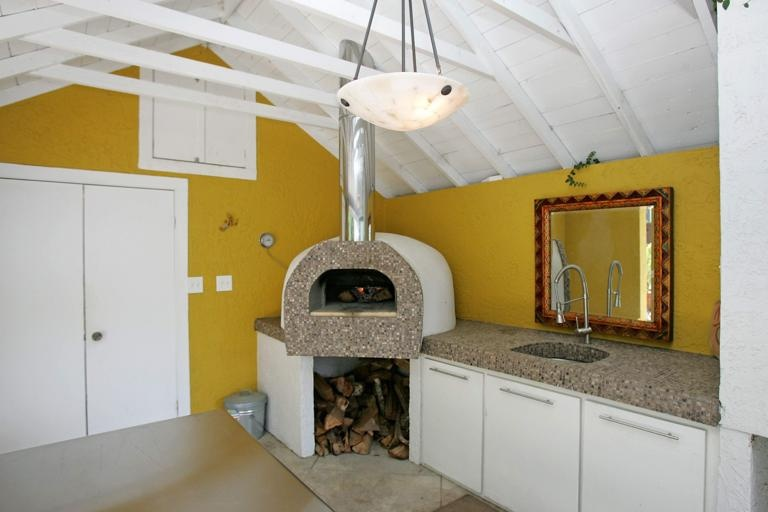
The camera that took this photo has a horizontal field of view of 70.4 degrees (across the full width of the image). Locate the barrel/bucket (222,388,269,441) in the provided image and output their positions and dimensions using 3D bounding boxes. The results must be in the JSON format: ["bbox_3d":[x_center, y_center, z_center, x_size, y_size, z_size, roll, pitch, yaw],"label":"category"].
[{"bbox_3d":[-1.304,1.522,5.181,0.403,0.402,0.462,-5,16,-11],"label":"barrel/bucket"}]

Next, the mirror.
[{"bbox_3d":[1.786,0.073,4.304,0.113,1.446,1.216,4,-4,-41],"label":"mirror"}]

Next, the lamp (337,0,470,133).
[{"bbox_3d":[0.062,-1.165,3.247,0.704,0.833,1.011,-3,14,-8],"label":"lamp"}]

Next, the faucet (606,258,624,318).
[{"bbox_3d":[1.818,0.267,4.258,0.114,0.445,0.085,5,15,22],"label":"faucet"}]
